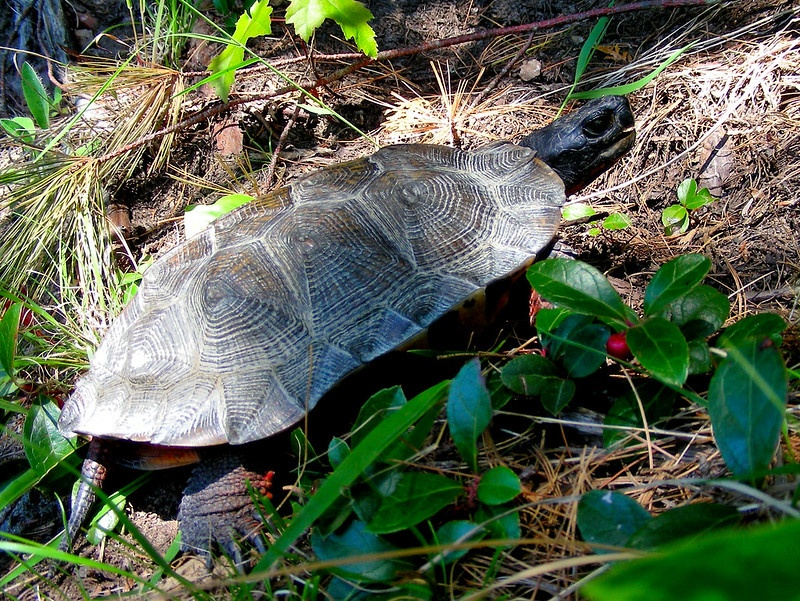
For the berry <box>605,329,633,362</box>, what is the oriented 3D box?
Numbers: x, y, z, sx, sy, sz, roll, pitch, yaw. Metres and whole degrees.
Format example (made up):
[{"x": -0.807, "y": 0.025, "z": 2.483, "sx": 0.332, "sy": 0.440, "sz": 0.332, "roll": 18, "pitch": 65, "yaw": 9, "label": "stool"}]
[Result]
[{"x": 0.839, "y": 0.169, "z": 2.575, "sx": 0.083, "sy": 0.103, "sz": 0.076, "roll": -29, "pitch": 55, "yaw": -15, "label": "berry"}]
